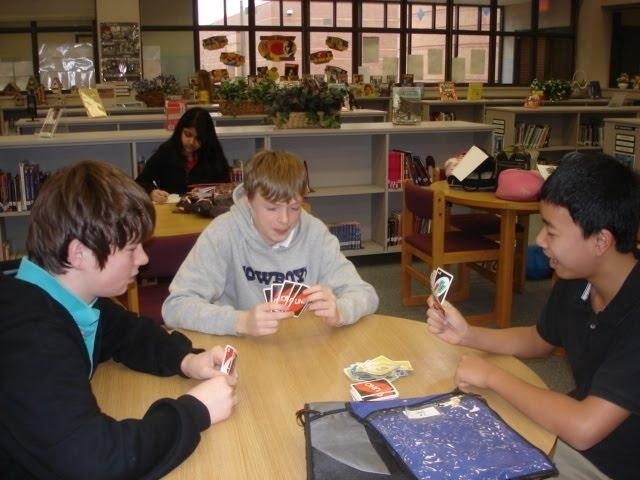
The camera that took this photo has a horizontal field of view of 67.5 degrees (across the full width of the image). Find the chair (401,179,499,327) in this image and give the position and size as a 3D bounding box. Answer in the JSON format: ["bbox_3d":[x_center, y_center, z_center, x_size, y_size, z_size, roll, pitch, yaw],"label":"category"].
[{"bbox_3d":[1.058,-0.003,3.844,0.740,1.190,0.791,-4,14,-14],"label":"chair"}]

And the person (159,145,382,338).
[{"bbox_3d":[-0.197,0.079,1.833,0.671,0.847,0.616,-3,20,-28],"label":"person"}]

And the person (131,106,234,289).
[{"bbox_3d":[-1.161,-0.335,4.110,0.830,1.473,0.737,-4,20,-32],"label":"person"}]

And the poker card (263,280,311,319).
[{"bbox_3d":[-0.112,0.198,1.594,0.148,0.095,0.115,0,14,-1],"label":"poker card"}]

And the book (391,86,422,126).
[{"bbox_3d":[0.896,-1.451,4.920,0.328,0.428,0.337,-1,41,7],"label":"book"}]

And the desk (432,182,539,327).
[{"bbox_3d":[1.255,0.057,3.719,0.792,0.915,0.862,3,-5,2],"label":"desk"}]

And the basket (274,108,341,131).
[{"bbox_3d":[-0.132,-1.111,4.445,0.554,0.173,0.296,-2,20,-20],"label":"basket"}]

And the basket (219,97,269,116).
[{"bbox_3d":[-0.921,-1.548,5.638,0.490,0.169,0.496,0,12,2],"label":"basket"}]

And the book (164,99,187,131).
[{"bbox_3d":[-1.397,-1.206,4.636,0.204,0.270,0.155,-4,33,-20],"label":"book"}]

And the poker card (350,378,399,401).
[{"bbox_3d":[0.147,0.398,1.281,0.059,0.016,0.060,-4,14,-16],"label":"poker card"}]
